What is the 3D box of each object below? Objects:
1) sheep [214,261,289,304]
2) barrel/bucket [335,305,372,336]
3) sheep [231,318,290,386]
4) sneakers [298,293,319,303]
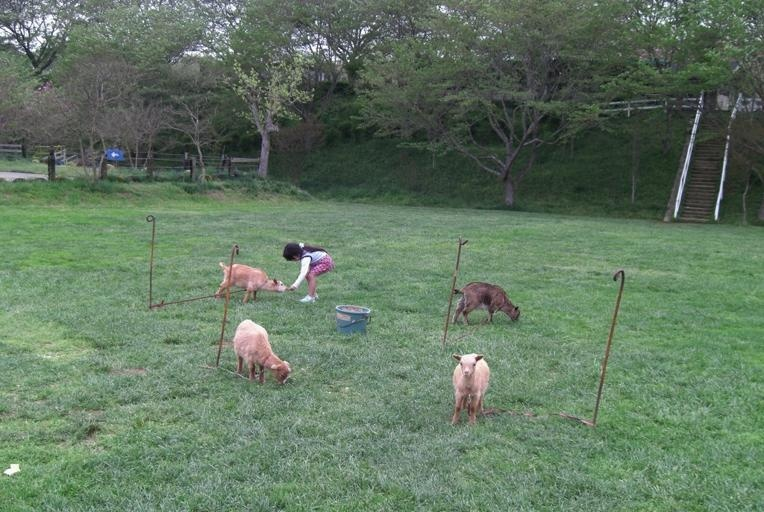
[{"bbox_3d":[-4.388,0.918,26.431,2.312,1.295,2.231,2,5,-17],"label":"sheep"},{"bbox_3d":[-0.959,2.055,25.047,0.944,0.636,0.908,2,-7,0],"label":"barrel/bucket"},{"bbox_3d":[-3.721,2.912,23.200,0.966,1.601,2.694,-6,26,-43],"label":"sheep"},{"bbox_3d":[-2.493,1.474,26.615,0.655,0.292,0.226,1,3,-7],"label":"sneakers"}]
